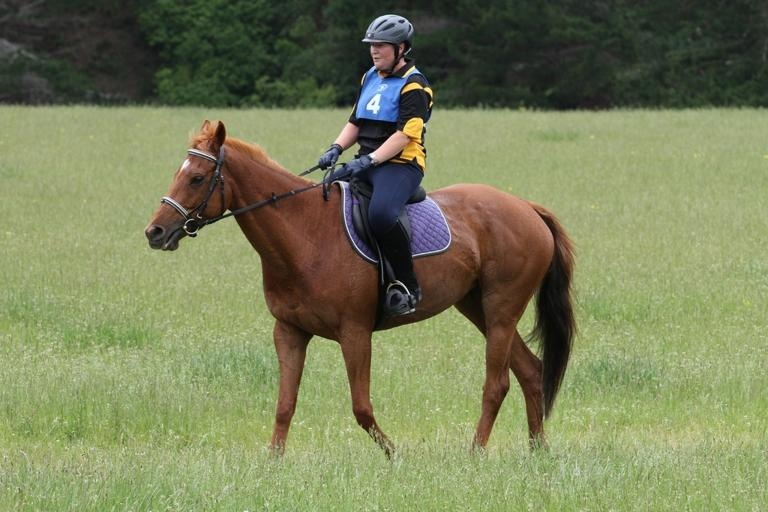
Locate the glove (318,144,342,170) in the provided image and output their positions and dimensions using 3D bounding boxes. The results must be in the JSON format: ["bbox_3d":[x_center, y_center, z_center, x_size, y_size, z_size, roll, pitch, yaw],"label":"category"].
[{"bbox_3d":[-0.983,-1.877,27.651,0.365,0.236,0.517,32,80,28],"label":"glove"}]

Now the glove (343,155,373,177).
[{"bbox_3d":[-0.478,-1.734,27.393,0.515,0.332,0.206,-38,-9,11],"label":"glove"}]
